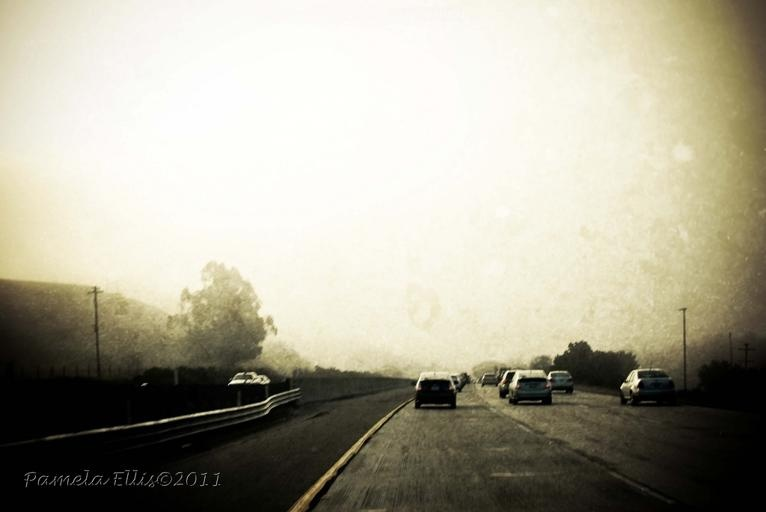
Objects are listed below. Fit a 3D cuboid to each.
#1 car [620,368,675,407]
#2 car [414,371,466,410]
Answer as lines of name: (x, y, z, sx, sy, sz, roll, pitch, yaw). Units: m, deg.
car: (14.544, 7.255, 41.009, 1.845, 2.053, 2.886, 4, -11, -23)
car: (2.957, 7.630, 41.582, 2.145, 2.007, 1.126, -3, -9, 16)
